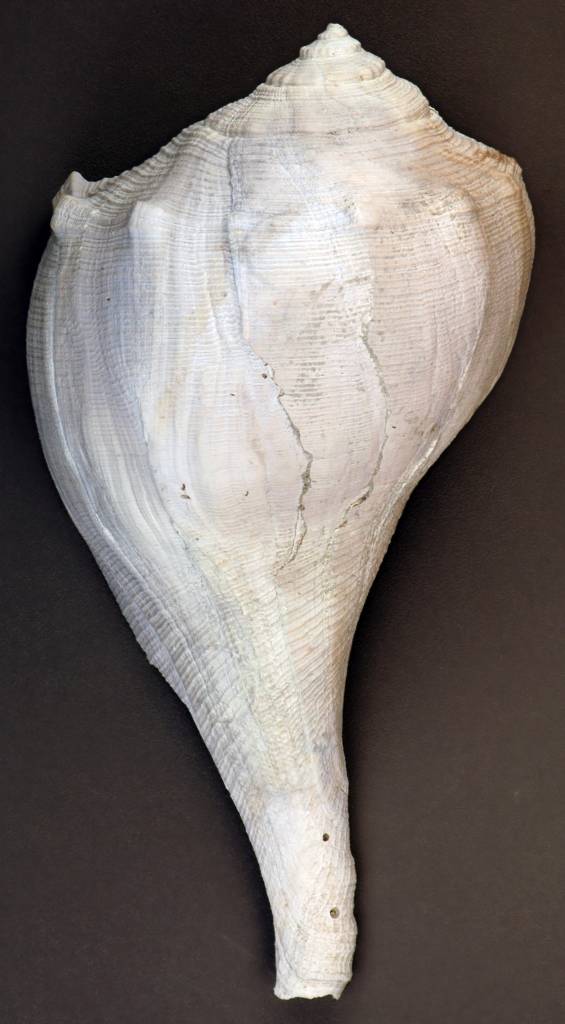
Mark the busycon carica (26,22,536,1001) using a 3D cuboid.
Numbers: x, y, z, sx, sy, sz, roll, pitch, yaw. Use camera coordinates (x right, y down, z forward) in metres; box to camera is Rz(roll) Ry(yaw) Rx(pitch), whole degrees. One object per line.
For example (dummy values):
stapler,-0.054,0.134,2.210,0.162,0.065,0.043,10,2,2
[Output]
busycon carica,0.020,-0.075,0.974,0.419,0.797,0.407,-5,-1,40
